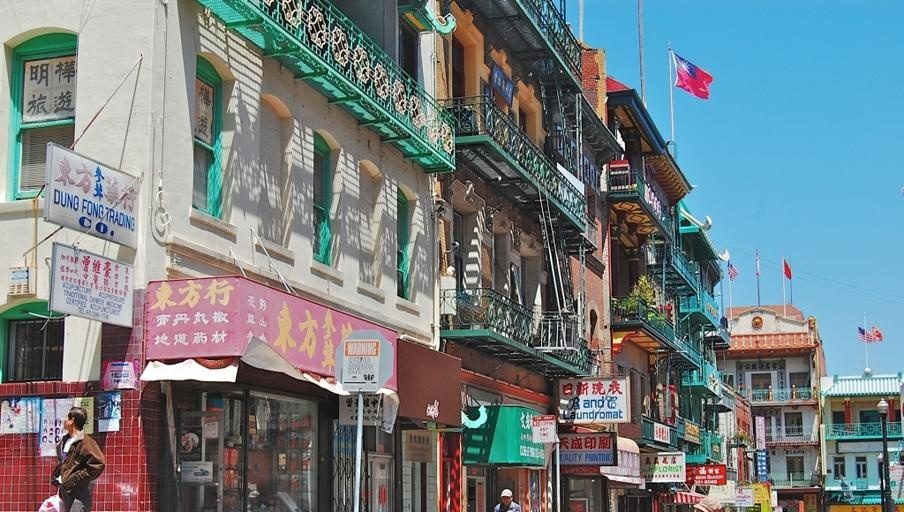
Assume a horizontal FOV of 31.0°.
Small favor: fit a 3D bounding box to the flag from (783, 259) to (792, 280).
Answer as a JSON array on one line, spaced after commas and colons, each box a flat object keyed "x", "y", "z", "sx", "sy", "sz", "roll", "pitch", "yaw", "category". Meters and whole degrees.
[{"x": 18.886, "y": 0.787, "z": 91.889, "sx": 0.187, "sy": 0.565, "sz": 1.683, "roll": -10, "pitch": -13, "yaw": 13, "category": "flag"}]

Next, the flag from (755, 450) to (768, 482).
[{"x": 21.310, "y": 14.457, "z": 112.161, "sx": 0.648, "sy": 2.438, "sz": 3.650, "roll": -5, "pitch": -20, "yaw": 12, "category": "flag"}]
